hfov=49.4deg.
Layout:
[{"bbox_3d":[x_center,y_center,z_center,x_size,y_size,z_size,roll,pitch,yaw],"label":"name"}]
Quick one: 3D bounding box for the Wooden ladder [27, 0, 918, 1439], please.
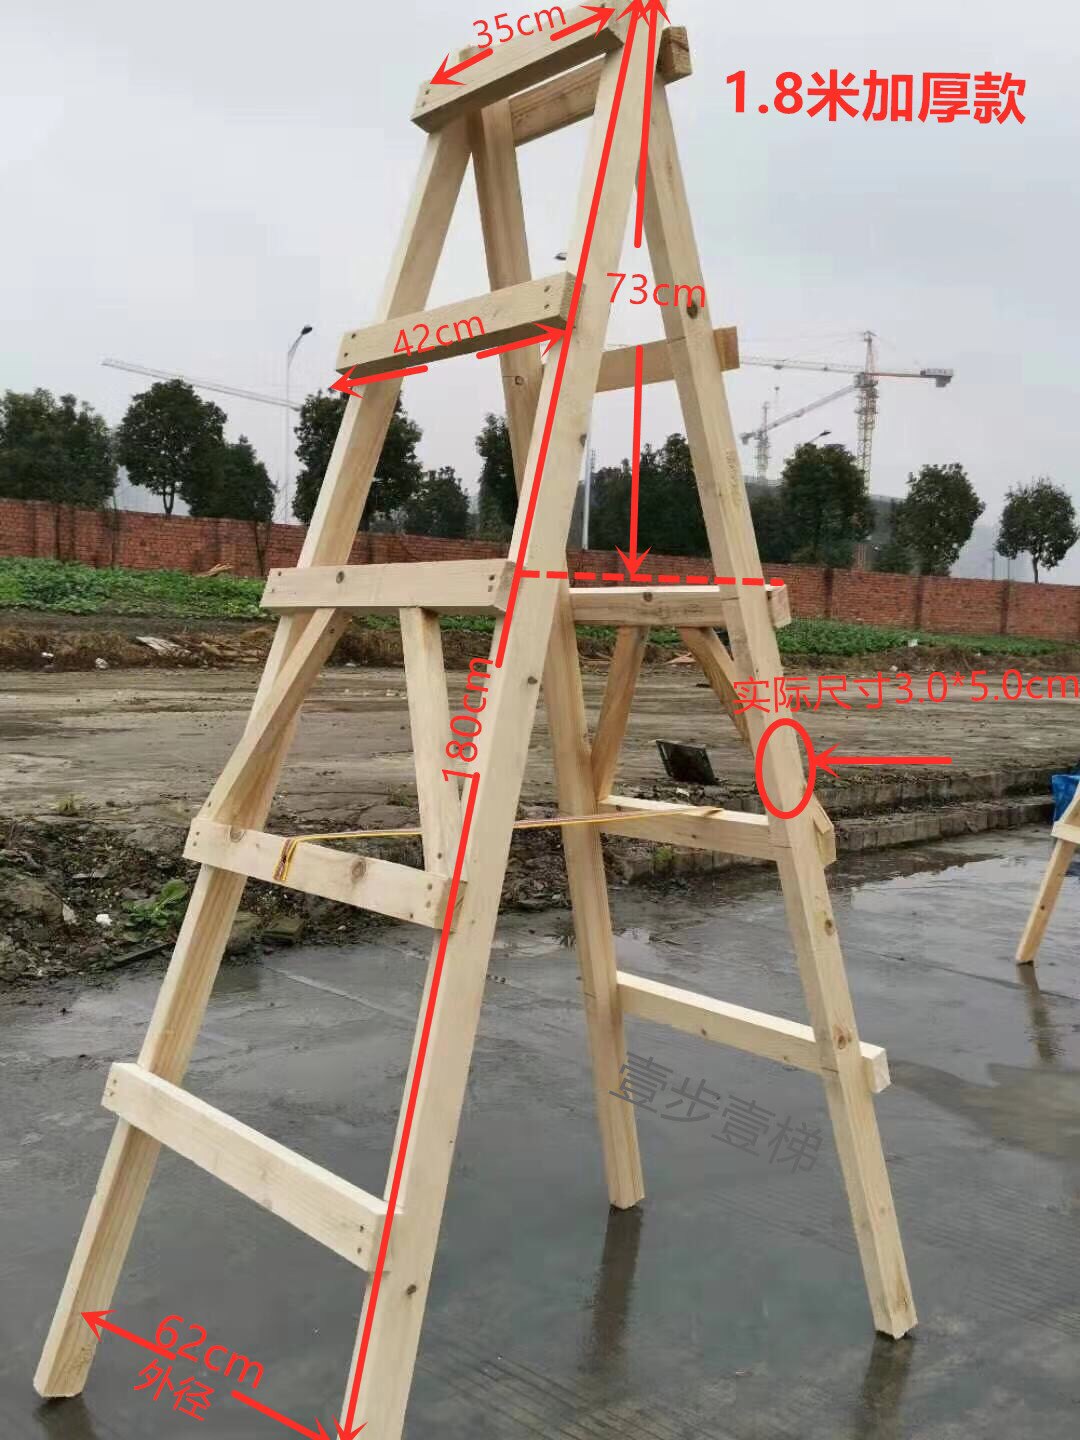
[{"bbox_3d":[-0.019,0.000,2.036,1.216,2.365,0.854,-3,8,-44],"label":"Wooden ladder"}]
